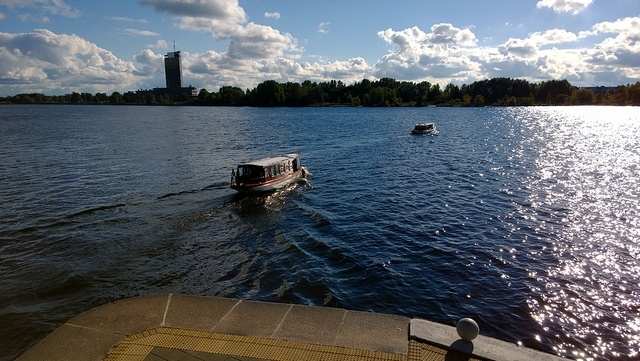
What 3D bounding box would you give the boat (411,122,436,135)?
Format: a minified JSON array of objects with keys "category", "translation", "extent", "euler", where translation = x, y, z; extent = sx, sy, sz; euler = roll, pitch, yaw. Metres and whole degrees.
[{"category":"boat","translation":[30.484,-14.888,114.889],"extent":[7.998,2.625,3.207],"euler":[-14,21,-41]}]
